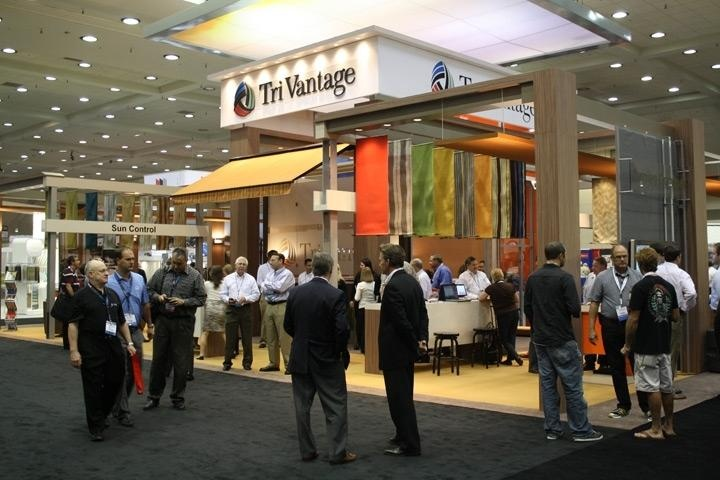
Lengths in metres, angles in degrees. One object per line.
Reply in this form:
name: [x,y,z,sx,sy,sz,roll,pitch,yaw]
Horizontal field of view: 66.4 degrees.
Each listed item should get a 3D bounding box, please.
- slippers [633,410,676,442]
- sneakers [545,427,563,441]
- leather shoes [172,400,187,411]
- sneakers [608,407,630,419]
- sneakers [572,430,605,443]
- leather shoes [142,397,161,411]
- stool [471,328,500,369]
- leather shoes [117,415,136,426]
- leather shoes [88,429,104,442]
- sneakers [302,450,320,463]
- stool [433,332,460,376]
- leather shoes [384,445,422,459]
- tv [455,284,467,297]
slippers: [3.080,1.898,5.710,0.461,0.319,0.227,-2,-6,33]
sneakers: [1.982,1.977,5.622,0.216,0.092,0.071,2,0,-41]
leather shoes: [-2.197,2.030,6.762,0.226,0.103,0.085,-7,-1,27]
sneakers: [2.992,1.988,6.351,0.250,0.109,0.106,5,-8,-25]
sneakers: [2.296,1.979,5.533,0.316,0.130,0.117,-1,-4,-17]
leather shoes: [-2.577,2.027,6.810,0.089,0.107,0.249,1,-13,0]
stool: [2.291,1.933,9.936,0.519,0.722,0.521,4,-5,-10]
leather shoes: [-2.655,2.022,6.235,0.267,0.125,0.105,-1,-1,26]
leather shoes: [-2.700,2.004,5.649,0.069,0.086,0.186,2,-2,-9]
sneakers: [-0.446,2.009,5.163,0.181,0.096,0.088,1,-2,-36]
stool: [1.442,1.894,9.151,0.420,0.662,0.419,4,-8,-18]
leather shoes: [0.415,2.014,5.313,0.355,0.143,0.122,3,-9,12]
tv: [1.835,0.900,9.877,0.236,0.228,0.185,4,-12,-44]
